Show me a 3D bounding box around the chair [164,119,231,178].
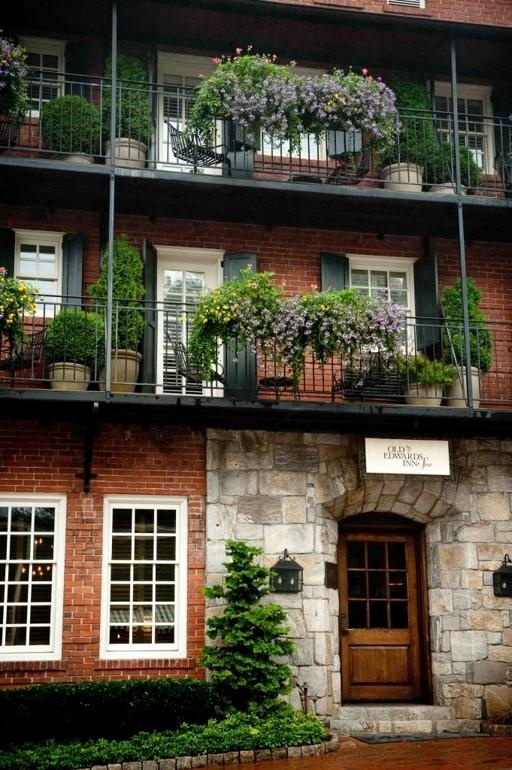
[{"bbox_3d":[-0.758,-2.636,12.792,0.433,0.610,0.445,-2,28,20],"label":"chair"}]

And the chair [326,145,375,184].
[{"bbox_3d":[1.076,-2.502,13.200,0.473,0.464,0.381,4,-3,-4],"label":"chair"}]

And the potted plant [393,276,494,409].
[{"bbox_3d":[2.115,-0.426,13.024,1.076,1.773,0.771,8,-16,-22],"label":"potted plant"}]

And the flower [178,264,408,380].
[{"bbox_3d":[0.403,-0.640,11.945,2.219,1.172,0.421,1,-11,-9],"label":"flower"}]

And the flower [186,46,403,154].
[{"bbox_3d":[0.530,-3.133,13.087,1.043,0.734,1.685,-17,8,44],"label":"flower"}]

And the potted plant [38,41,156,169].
[{"bbox_3d":[-1.774,-3.121,12.859,1.288,1.626,1.086,2,-12,-13],"label":"potted plant"}]
